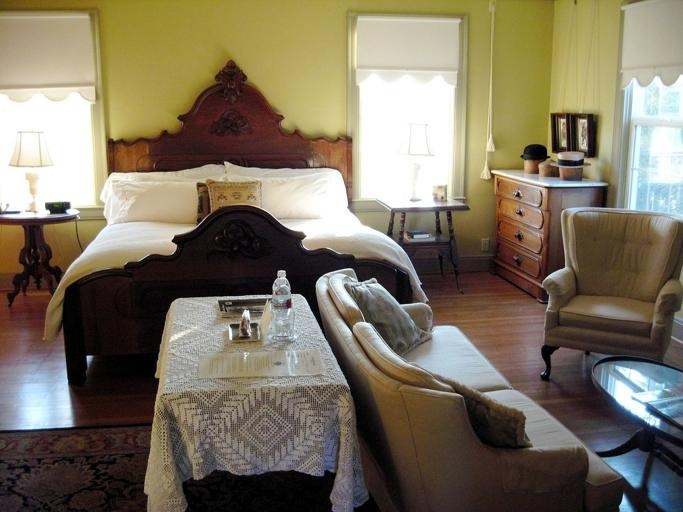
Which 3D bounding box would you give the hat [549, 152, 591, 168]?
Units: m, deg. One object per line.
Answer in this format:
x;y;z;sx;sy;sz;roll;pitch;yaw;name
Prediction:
2.264;-0.930;5.126;0.343;0.140;0.278;-2;13;-1;hat

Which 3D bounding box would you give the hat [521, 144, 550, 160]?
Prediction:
2.059;-1.082;5.572;0.265;0.168;0.247;-14;17;-43;hat

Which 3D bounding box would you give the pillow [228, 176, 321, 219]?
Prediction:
-0.593;-0.502;4.712;0.503;0.289;0.103;0;-11;-5;pillow

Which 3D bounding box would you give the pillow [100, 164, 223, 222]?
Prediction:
-1.717;-0.496;4.862;0.750;0.221;0.651;-4;53;-5;pillow

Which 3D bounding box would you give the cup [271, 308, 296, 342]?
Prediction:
-0.279;0.333;2.619;0.147;0.164;0.145;0;8;0;cup

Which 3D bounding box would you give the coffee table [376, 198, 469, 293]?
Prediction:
0.771;-0.120;5.785;0.981;0.930;0.972;-2;13;-5;coffee table

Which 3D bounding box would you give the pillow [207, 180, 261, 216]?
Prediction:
-0.929;-0.545;4.638;0.419;0.389;0.103;6;-13;-16;pillow
